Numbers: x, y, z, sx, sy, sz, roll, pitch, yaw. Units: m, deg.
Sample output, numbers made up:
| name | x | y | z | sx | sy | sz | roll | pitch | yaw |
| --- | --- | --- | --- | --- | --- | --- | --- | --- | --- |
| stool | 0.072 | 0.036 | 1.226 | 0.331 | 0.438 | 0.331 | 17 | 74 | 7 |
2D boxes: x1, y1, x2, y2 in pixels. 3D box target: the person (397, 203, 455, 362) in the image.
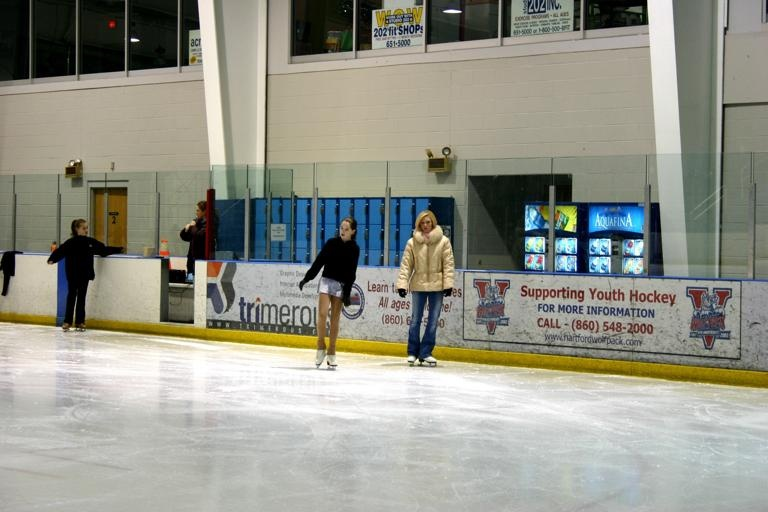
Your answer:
| name | x | y | z | sx | sy | sz | roll | pitch | yaw |
| --- | --- | --- | --- | --- | --- | --- | --- | --- | --- |
| person | 0.667 | 0.563 | 12.932 | 0.904 | 2.587 | 0.474 | 1 | 4 | 1 |

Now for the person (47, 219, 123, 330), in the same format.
| name | x | y | z | sx | sy | sz | roll | pitch | yaw |
| --- | --- | --- | --- | --- | --- | --- | --- | --- | --- |
| person | -6.550 | 0.378 | 16.784 | 0.575 | 2.359 | 1.223 | 4 | 5 | 40 |

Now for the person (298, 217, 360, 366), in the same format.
| name | x | y | z | sx | sy | sz | roll | pitch | yaw |
| --- | --- | --- | --- | --- | --- | --- | --- | --- | --- |
| person | -0.867 | 0.614 | 12.621 | 0.770 | 2.491 | 0.702 | 2 | 4 | 26 |

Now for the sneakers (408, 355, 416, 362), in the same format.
| name | x | y | z | sx | sy | sz | roll | pitch | yaw |
| --- | --- | --- | --- | --- | --- | --- | --- | --- | --- |
| sneakers | 0.463 | 1.717 | 13.124 | 0.095 | 0.079 | 0.176 | 0 | -11 | 6 |

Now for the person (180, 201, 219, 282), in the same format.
| name | x | y | z | sx | sy | sz | roll | pitch | yaw |
| --- | --- | --- | --- | --- | --- | --- | --- | --- | --- |
| person | -3.951 | -0.303 | 16.432 | 0.388 | 1.733 | 1.032 | -3 | 5 | -42 |

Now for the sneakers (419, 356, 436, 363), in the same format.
| name | x | y | z | sx | sy | sz | roll | pitch | yaw |
| --- | --- | --- | --- | --- | --- | --- | --- | --- | --- |
| sneakers | 0.724 | 1.747 | 13.144 | 0.111 | 0.134 | 0.300 | 5 | -11 | -44 |

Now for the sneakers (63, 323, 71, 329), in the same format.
| name | x | y | z | sx | sy | sz | roll | pitch | yaw |
| --- | --- | --- | --- | --- | --- | --- | --- | --- | --- |
| sneakers | -6.780 | 1.480 | 16.568 | 0.119 | 0.134 | 0.145 | 4 | -11 | -23 |

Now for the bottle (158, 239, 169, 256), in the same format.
| name | x | y | z | sx | sy | sz | roll | pitch | yaw |
| --- | --- | --- | --- | --- | --- | --- | --- | --- | --- |
| bottle | -4.788 | -0.167 | 16.843 | 0.271 | 0.310 | 0.273 | -2 | -4 | 41 |

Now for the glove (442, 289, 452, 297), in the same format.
| name | x | y | z | sx | sy | sz | roll | pitch | yaw |
| --- | --- | --- | --- | --- | --- | --- | --- | --- | --- |
| glove | 1.031 | 0.592 | 12.763 | 0.125 | 0.104 | 0.104 | -2 | 1 | -5 |
